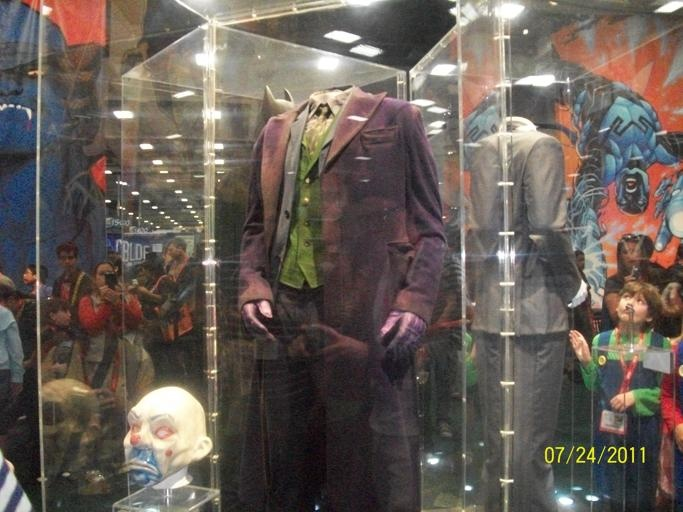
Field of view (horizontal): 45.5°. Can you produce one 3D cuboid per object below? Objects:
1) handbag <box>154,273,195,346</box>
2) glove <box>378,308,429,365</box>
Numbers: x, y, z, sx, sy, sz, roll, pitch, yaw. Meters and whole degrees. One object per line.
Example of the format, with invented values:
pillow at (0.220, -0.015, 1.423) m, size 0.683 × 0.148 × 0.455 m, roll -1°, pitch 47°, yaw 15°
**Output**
handbag at (-0.825, 0.264, 4.076) m, size 0.233 × 0.311 × 0.113 m, roll 2°, pitch 1°, yaw 16°
glove at (0.283, 0.364, 3.759) m, size 0.162 × 0.231 × 0.128 m, roll 34°, pitch -11°, yaw -16°
